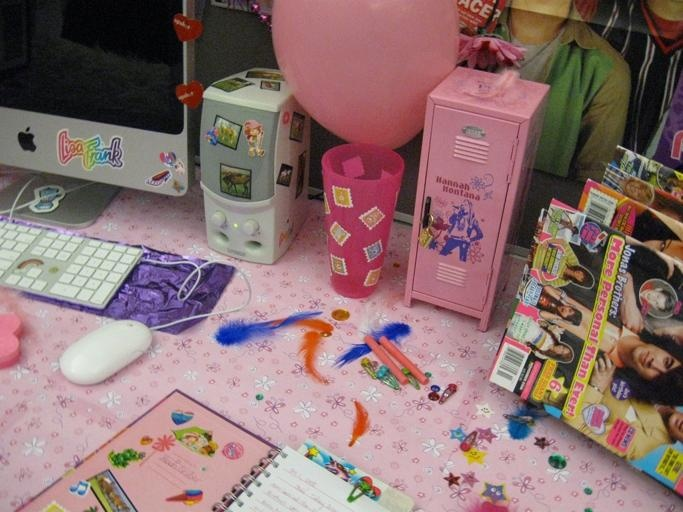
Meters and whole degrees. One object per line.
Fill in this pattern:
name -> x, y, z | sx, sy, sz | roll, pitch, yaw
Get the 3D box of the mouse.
mouse -> -0.396, 0.153, 0.904 | 0.081, 0.034, 0.139 | 36, 51, 28

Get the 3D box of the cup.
cup -> 0.030, -0.077, 1.079 | 0.159, 0.254, 0.206 | 9, 41, 5
